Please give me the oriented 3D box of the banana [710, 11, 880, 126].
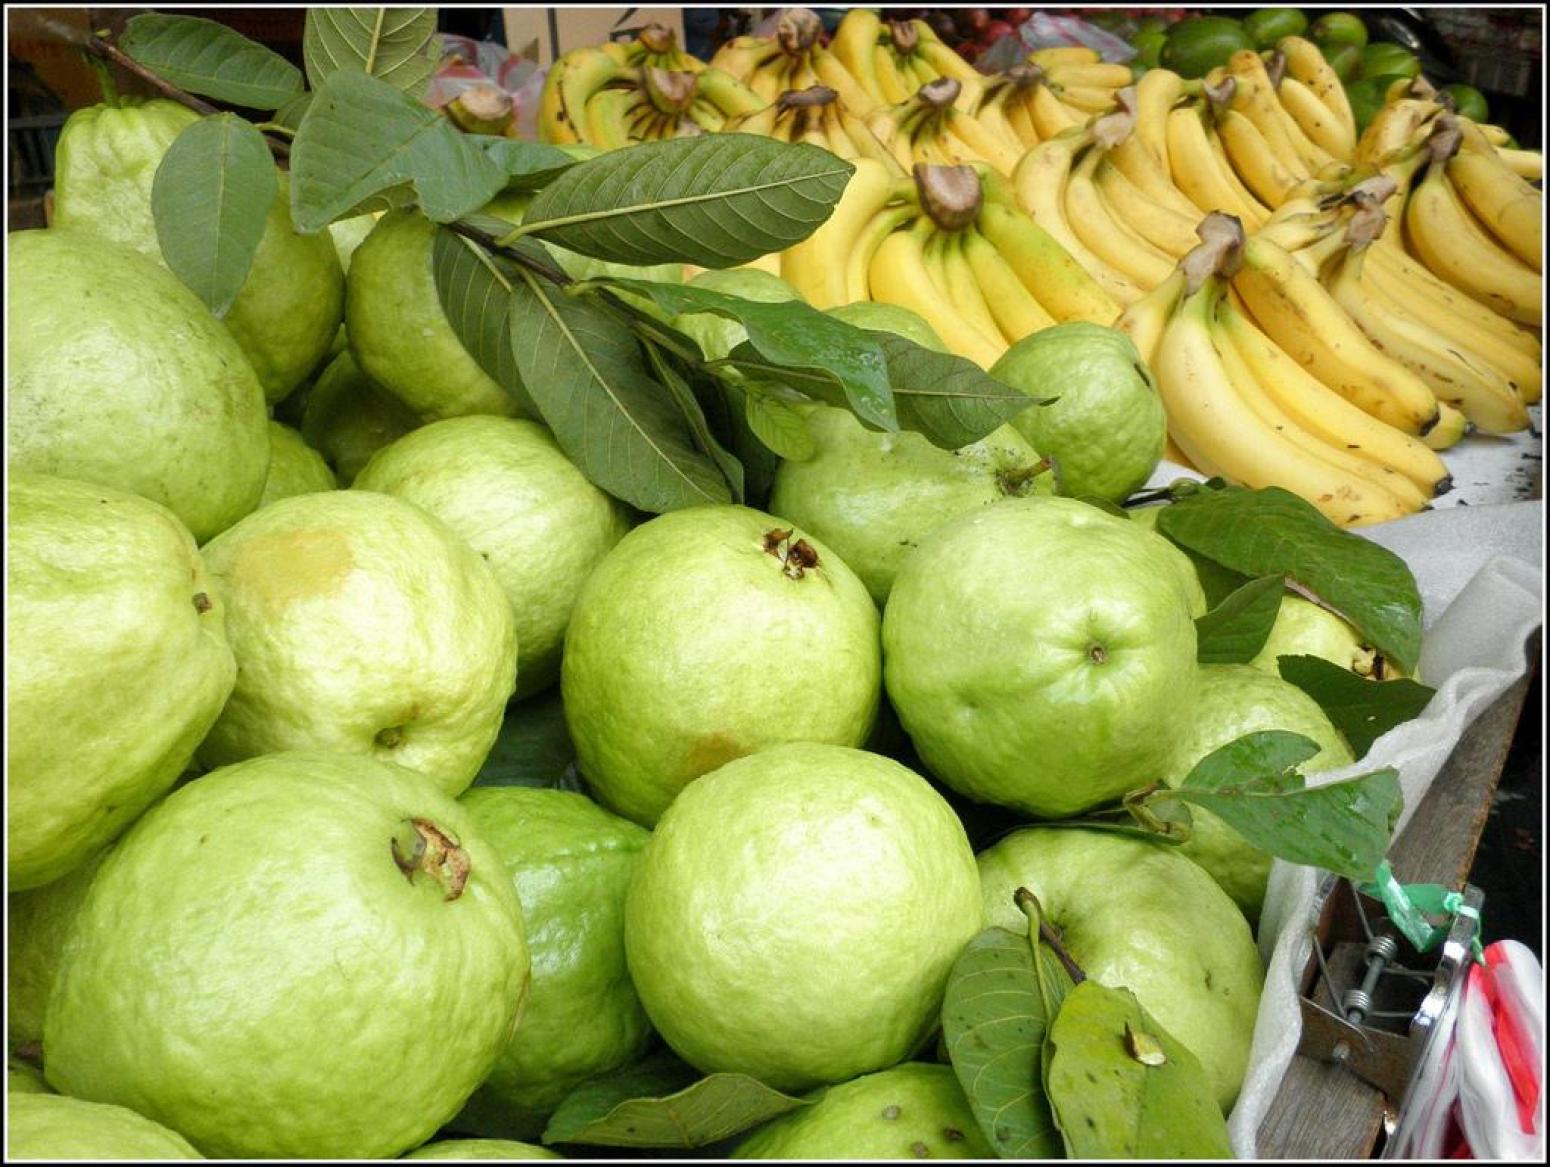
[{"bbox_3d":[0.032,-1.055,2.738,0.239,0.180,0.412,13,23,-9],"label":"banana"}]
